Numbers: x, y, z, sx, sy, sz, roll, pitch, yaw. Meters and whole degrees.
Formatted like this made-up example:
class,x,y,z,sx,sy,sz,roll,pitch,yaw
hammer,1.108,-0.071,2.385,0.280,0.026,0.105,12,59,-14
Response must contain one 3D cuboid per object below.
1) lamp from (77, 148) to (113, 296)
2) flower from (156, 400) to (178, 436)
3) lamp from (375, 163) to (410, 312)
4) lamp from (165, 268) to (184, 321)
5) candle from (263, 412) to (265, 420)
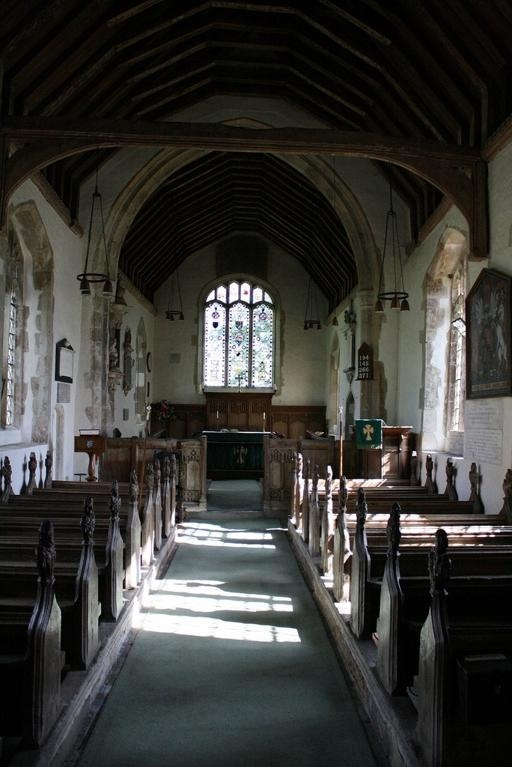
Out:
class,x,y,z,sx,sy,sz,roll,pitch,yaw
lamp,-2.170,-2.061,8.186,0.475,2.168,2.199,1,-4,-15
flower,-2.213,0.884,14.969,0.442,0.860,1.254,1,-4,-8
lamp,1.996,-2.008,8.896,0.444,2.082,1.499,0,-4,12
lamp,-2.053,-2.272,15.367,0.459,1.390,0.993,1,-3,-8
candle,0.205,0.844,15.416,0.066,0.212,0.240,0,-4,-4
